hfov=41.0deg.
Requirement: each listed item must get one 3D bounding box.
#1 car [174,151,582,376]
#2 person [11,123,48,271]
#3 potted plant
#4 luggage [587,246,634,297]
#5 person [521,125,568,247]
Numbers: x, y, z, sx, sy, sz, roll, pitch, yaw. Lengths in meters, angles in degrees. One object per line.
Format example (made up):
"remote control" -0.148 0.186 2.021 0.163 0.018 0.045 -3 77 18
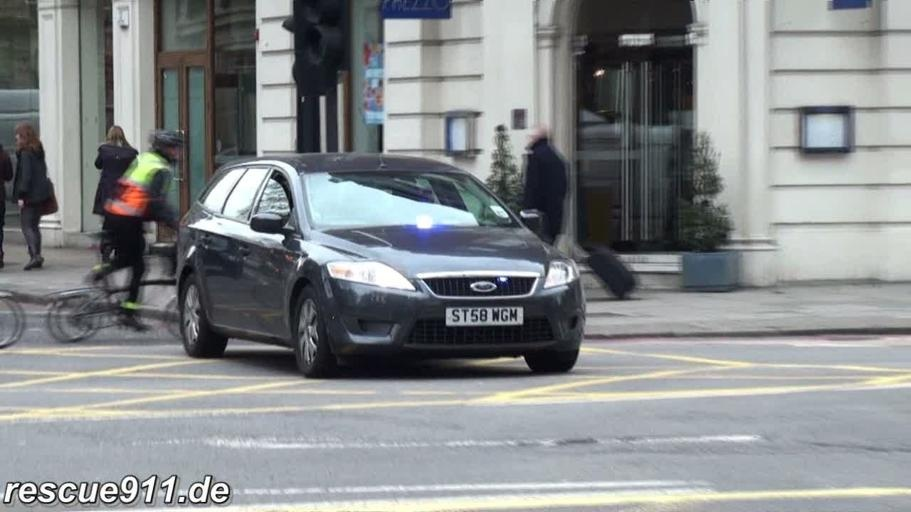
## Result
"car" -1.258 -0.052 16.052 3.439 2.296 6.906 -3 5 -30
"person" -8.618 -1.159 24.609 0.814 2.827 0.896 3 6 25
"potted plant" 4.452 -0.768 21.670 1.186 2.716 1.154 1 1 1
"luggage" 2.579 0.195 20.652 0.589 0.236 0.968 1 36 -44
"person" 1.328 -1.053 18.800 1.153 1.929 0.528 0 0 35
